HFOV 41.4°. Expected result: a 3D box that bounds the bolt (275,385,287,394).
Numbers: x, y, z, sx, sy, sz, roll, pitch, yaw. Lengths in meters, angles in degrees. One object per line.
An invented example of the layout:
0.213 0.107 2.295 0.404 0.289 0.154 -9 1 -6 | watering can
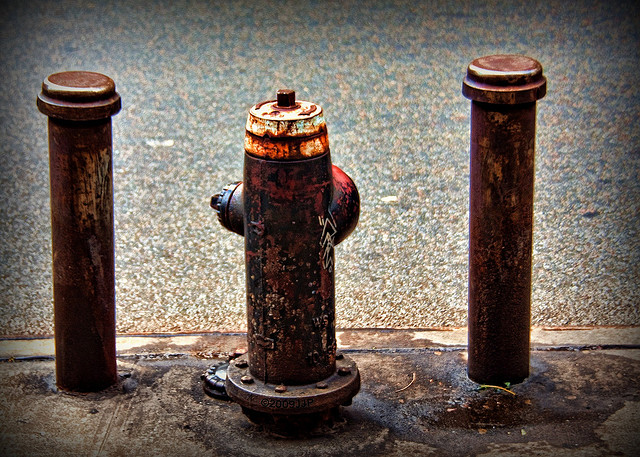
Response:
-0.217 0.882 4.704 0.045 0.009 0.041 -11 25 -21 | bolt

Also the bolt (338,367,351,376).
0.141 0.807 4.850 0.050 0.016 0.047 7 20 12 | bolt

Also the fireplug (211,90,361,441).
-0.170 0.139 4.699 0.777 1.796 0.316 -2 9 1 | fireplug
